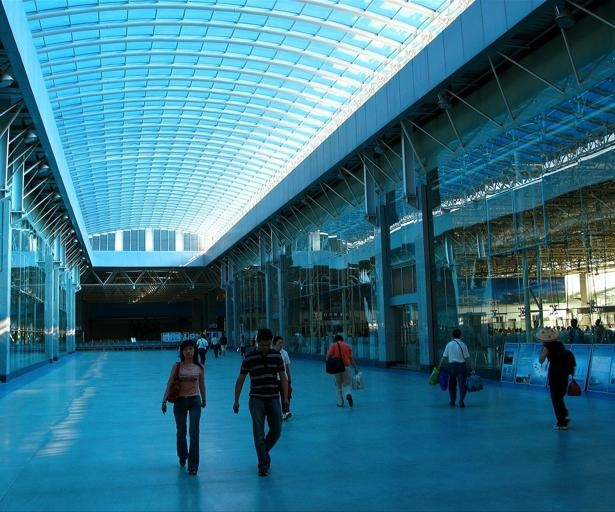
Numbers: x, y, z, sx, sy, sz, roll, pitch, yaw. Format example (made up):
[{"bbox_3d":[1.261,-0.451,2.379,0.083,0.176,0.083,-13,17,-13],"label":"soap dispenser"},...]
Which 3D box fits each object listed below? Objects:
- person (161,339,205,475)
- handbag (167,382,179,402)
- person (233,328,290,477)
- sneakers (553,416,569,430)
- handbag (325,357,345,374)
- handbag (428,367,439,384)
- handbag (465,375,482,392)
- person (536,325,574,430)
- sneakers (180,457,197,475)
[{"bbox_3d":[-1.666,2.008,6.745,0.538,1.714,0.693,-1,-8,-8],"label":"person"},{"bbox_3d":[-1.787,1.805,6.649,0.169,0.277,0.169,0,-8,-16],"label":"handbag"},{"bbox_3d":[-0.553,1.857,6.425,0.593,1.817,0.860,-4,-8,17],"label":"person"},{"bbox_3d":[4.544,3.008,8.972,0.162,0.265,0.347,2,0,-12],"label":"sneakers"},{"bbox_3d":[0.764,2.831,13.141,0.634,0.605,0.357,-1,-6,9],"label":"handbag"},{"bbox_3d":[3.571,3.364,13.997,0.294,0.504,1.102,-4,-9,13],"label":"handbag"},{"bbox_3d":[4.194,3.172,12.570,0.350,0.410,0.418,-2,-4,-14],"label":"handbag"},{"bbox_3d":[4.634,2.225,9.202,0.576,1.798,0.927,-6,-9,27],"label":"person"},{"bbox_3d":[-1.576,2.780,6.642,0.163,0.235,0.551,2,-19,-14],"label":"sneakers"}]
